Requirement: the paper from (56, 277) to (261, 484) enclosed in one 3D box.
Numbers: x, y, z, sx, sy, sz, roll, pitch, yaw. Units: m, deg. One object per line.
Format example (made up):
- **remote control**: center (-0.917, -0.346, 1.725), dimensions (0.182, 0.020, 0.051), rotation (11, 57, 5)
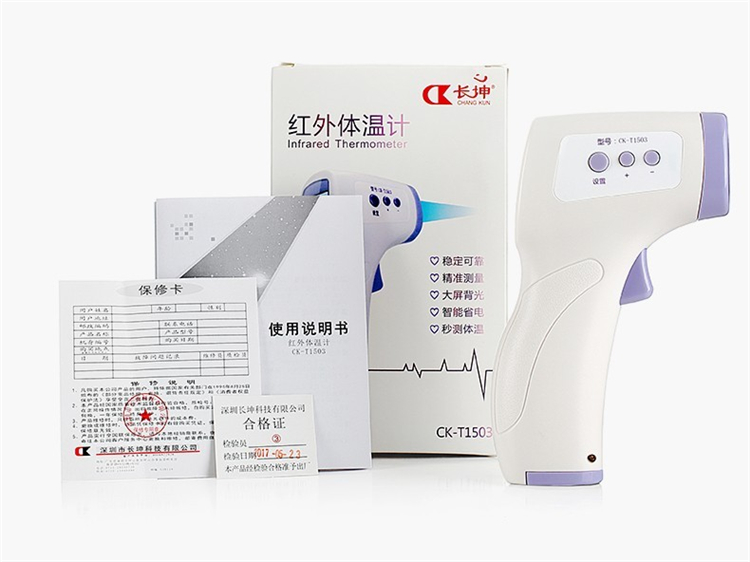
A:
- **paper**: center (-0.357, 0.175, 1.229), dimensions (0.298, 0.325, 0.035), rotation (0, -2, -1)
